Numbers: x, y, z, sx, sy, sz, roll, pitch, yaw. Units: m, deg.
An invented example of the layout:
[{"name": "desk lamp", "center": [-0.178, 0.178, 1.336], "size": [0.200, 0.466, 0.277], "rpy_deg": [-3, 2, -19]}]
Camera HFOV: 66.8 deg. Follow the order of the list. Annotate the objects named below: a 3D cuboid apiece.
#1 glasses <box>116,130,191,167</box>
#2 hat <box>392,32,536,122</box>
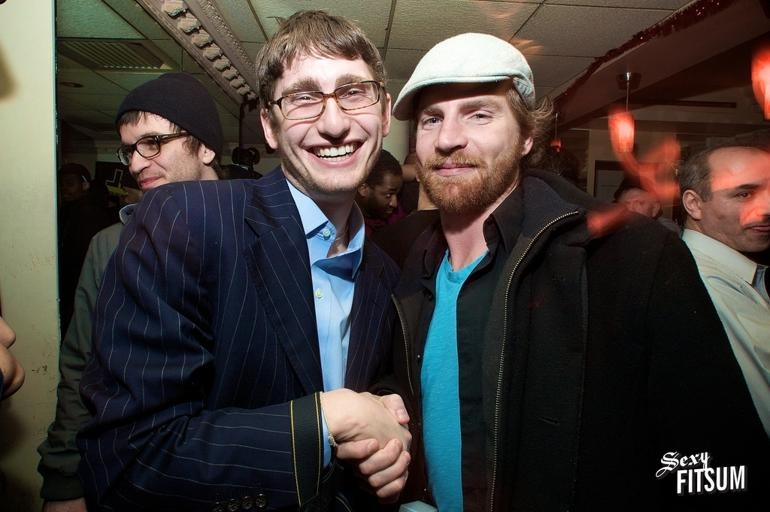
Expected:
[{"name": "glasses", "center": [-1.278, -0.594, 3.155], "size": [0.233, 0.074, 0.244], "rpy_deg": [-13, 14, 33]}, {"name": "hat", "center": [0.382, -0.842, 2.763], "size": [0.516, 0.257, 0.386], "rpy_deg": [6, -15, -16]}]
